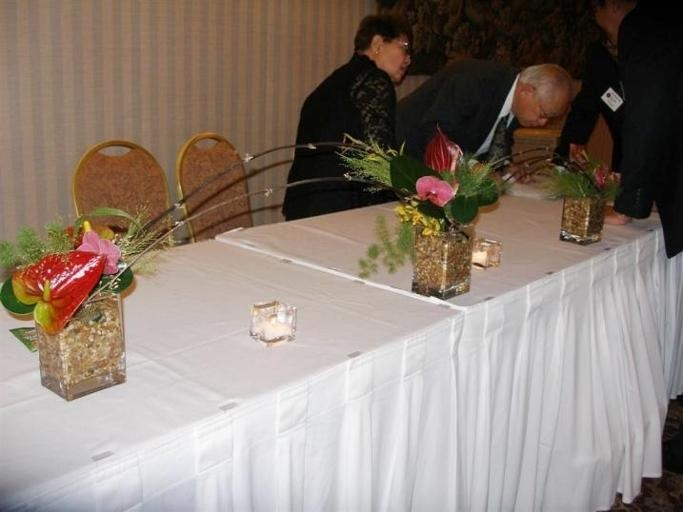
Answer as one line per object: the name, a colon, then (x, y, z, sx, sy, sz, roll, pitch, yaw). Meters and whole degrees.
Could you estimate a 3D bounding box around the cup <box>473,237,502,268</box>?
cup: (0.470, -0.019, 1.788, 0.089, 0.104, 0.068, 9, 14, 23)

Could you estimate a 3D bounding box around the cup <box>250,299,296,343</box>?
cup: (-0.158, 0.135, 1.343, 0.091, 0.100, 0.093, 1, 11, 0)

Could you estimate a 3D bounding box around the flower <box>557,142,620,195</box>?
flower: (0.880, -0.296, 2.070, 0.237, 0.147, 0.214, 11, 14, 35)

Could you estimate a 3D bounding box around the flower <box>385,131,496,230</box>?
flower: (0.300, -0.199, 1.476, 0.327, 0.243, 0.190, -10, 20, -36)
